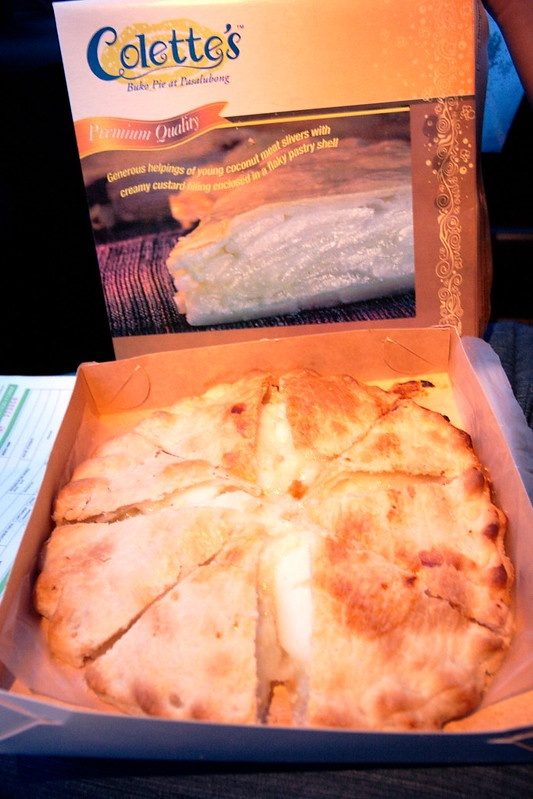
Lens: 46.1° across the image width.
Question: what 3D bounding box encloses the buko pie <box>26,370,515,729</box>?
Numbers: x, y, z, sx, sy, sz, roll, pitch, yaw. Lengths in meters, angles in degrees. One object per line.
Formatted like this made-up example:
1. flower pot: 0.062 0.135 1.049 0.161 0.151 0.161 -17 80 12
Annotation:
1. buko pie: 0.004 0.144 0.772 0.569 0.082 0.494 -2 43 5
